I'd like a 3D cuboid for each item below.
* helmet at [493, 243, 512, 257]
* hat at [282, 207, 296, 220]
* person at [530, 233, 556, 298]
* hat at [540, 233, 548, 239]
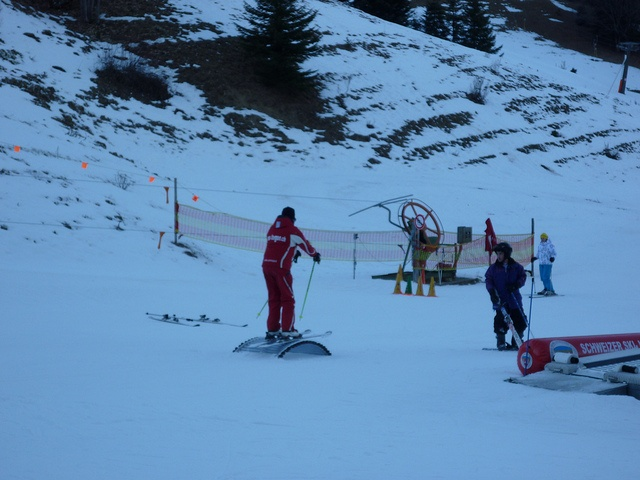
[{"bbox_3d":[6.595,0.337,45.331,0.623,0.482,0.453,-6,-6,-2],"label":"helmet"},{"bbox_3d":[-1.112,-1.000,44.717,0.354,0.420,0.489,4,7,15],"label":"hat"},{"bbox_3d":[9.155,0.970,50.544,0.811,2.453,1.105,4,6,9],"label":"person"},{"bbox_3d":[9.098,-0.184,50.724,0.254,0.240,0.313,-1,-34,9],"label":"hat"}]
